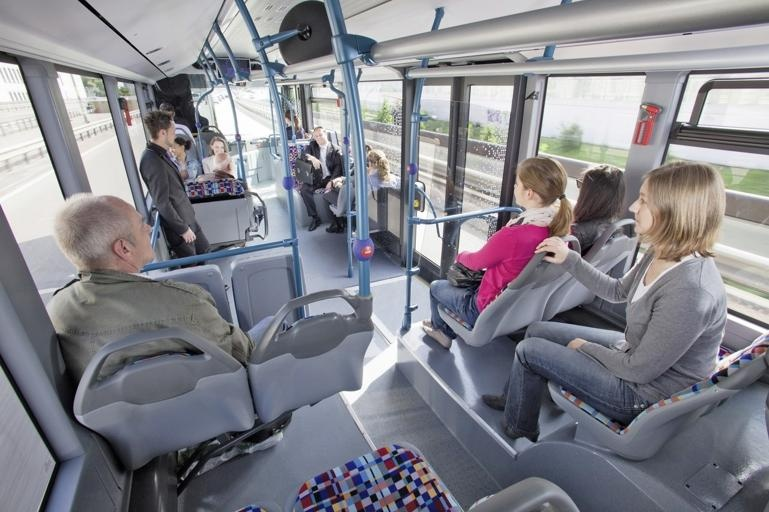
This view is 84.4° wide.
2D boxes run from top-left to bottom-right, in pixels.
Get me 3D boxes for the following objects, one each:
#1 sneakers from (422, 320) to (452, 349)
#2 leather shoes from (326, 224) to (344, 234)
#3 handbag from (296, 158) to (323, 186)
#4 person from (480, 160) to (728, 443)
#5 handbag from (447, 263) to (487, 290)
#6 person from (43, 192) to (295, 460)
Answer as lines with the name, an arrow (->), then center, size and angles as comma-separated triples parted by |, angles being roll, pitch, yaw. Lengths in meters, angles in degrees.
sneakers -> 0.418, 0.665, 3.681 | 0.112, 0.133, 0.322 | -22, 49, -31
leather shoes -> -0.784, -0.418, 6.728 | 0.229, 0.097, 0.131 | -1, 25, -4
handbag -> -1.221, -1.309, 6.850 | 0.409, 0.431, 0.125 | 22, 32, 34
person -> 1.397, -0.096, 3.133 | 1.532, 2.197, 1.088 | 12, 28, 32
handbag -> 0.609, 0.163, 3.251 | 0.235, 0.174, 0.095 | 1, -14, 26
person -> -1.267, 0.178, 2.197 | 0.803, 0.899, 0.580 | 3, 23, 9
